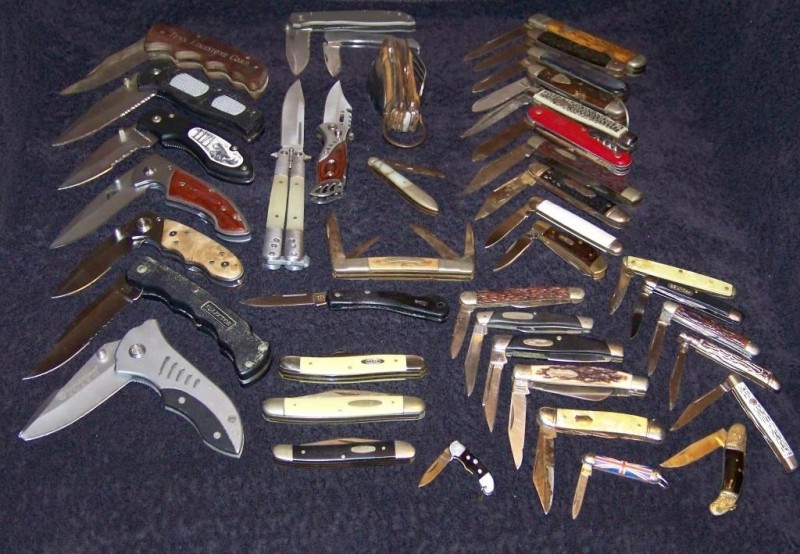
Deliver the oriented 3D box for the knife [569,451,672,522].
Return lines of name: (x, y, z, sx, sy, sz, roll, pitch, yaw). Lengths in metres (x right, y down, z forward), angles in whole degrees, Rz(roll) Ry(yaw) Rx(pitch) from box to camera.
knife: (0.526, 0.491, 2.239, 0.256, 0.037, 0.128, -16, 64, -8)

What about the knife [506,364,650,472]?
knife: (0.445, 0.363, 2.272, 0.237, 0.028, 0.234, 5, 54, 0)

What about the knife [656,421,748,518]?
knife: (0.768, 0.474, 2.280, 0.198, 0.054, 0.261, 11, 57, 17)

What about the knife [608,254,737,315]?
knife: (0.723, 0.020, 2.412, 0.266, 0.030, 0.173, 15, 70, 5)

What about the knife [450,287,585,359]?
knife: (0.308, 0.108, 2.427, 0.247, 0.035, 0.209, 6, 60, 0)

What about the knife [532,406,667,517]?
knife: (0.450, 0.412, 2.152, 0.301, 0.055, 0.245, 4, 64, 1)

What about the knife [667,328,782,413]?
knife: (0.836, 0.226, 2.315, 0.233, 0.034, 0.191, 28, 78, 12)

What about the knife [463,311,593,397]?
knife: (0.307, 0.234, 2.442, 0.282, 0.045, 0.227, 1, 76, -2)

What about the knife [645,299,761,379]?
knife: (0.761, 0.185, 2.341, 0.237, 0.045, 0.195, 27, 72, 5)
